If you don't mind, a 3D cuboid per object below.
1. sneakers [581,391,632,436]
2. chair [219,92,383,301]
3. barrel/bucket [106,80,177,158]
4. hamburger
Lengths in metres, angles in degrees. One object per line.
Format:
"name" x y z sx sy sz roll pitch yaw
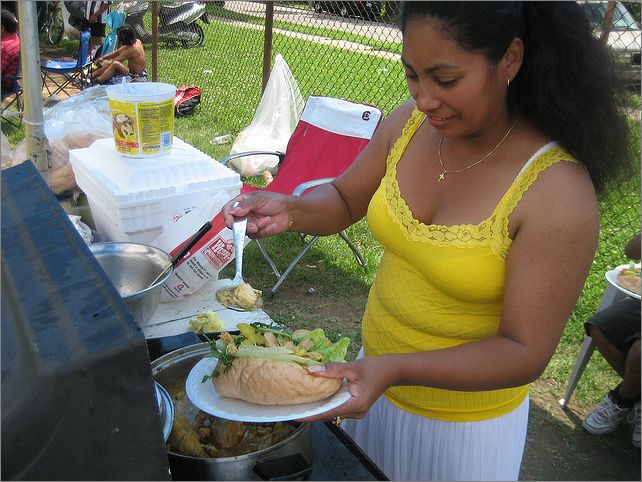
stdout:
"sneakers" 1.696 1.026 3.113 0.295 0.119 0.104 2 27 -9
"chair" -0.249 -0.344 4.128 1.091 1.514 1.231 20 19 36
"barrel/bucket" -0.779 -0.503 2.390 0.296 0.320 0.332 -3 31 -14
"hamburger" -0.117 0.335 1.427 0.337 0.166 0.301 9 5 4
